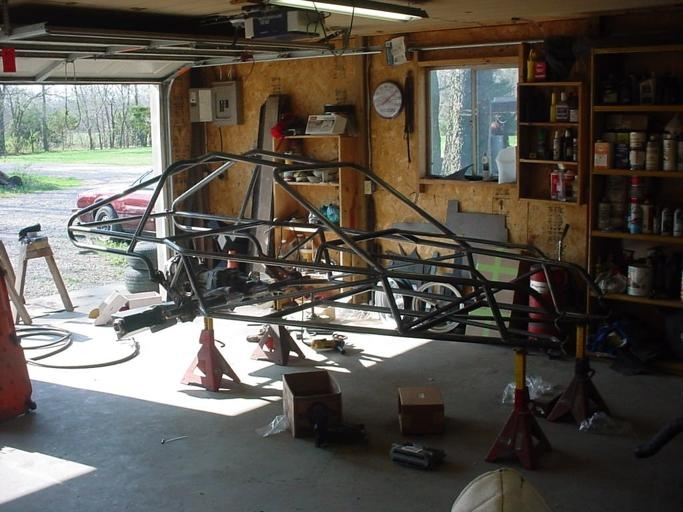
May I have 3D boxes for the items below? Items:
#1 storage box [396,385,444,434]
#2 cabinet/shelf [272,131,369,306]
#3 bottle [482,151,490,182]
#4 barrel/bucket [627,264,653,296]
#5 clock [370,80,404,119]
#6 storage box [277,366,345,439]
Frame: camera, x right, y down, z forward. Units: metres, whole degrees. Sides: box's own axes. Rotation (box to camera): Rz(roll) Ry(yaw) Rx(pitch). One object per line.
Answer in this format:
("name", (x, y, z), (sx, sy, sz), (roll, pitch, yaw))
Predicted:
("storage box", (0.658, 1.271, 4.870), (0.367, 0.305, 0.322), (-2, 12, 6))
("cabinet/shelf", (-0.227, -0.467, 7.622), (1.375, 2.165, 0.686), (8, 17, 41))
("bottle", (1.628, -1.009, 6.642), (0.082, 0.279, 0.196), (0, 13, 14))
("barrel/bucket", (2.924, 0.233, 5.806), (0.325, 0.288, 0.303), (-1, 7, 0))
("clock", (0.554, -1.878, 7.090), (0.387, 0.437, 0.082), (7, 17, 41))
("storage box", (-0.273, 1.187, 4.940), (0.573, 0.334, 0.509), (-4, 17, -16))
